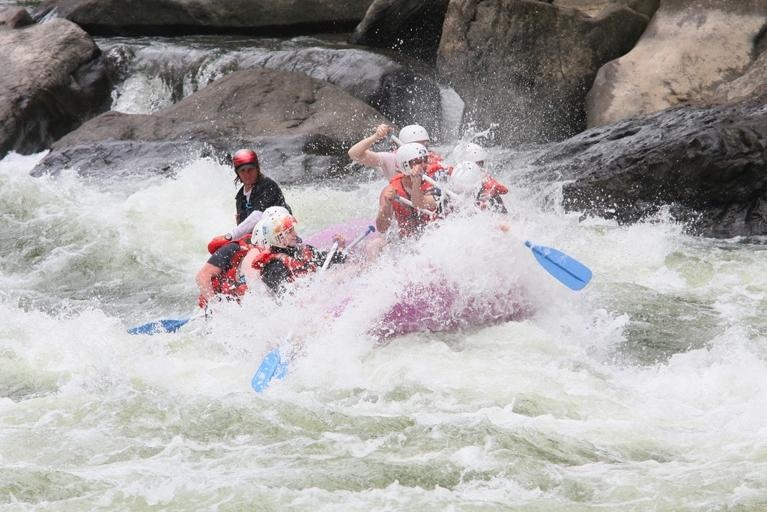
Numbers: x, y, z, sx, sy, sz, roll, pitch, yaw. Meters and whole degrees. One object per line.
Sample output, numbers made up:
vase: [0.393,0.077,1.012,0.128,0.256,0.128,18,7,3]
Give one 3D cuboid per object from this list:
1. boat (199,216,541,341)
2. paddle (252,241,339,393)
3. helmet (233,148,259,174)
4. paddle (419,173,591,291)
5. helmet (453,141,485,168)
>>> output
boat: [-0.182,0.808,17.857,3.739,0.983,1.666,-3,62,-1]
paddle: [-1.270,0.930,17.060,0.357,0.236,2.393,24,68,23]
helmet: [-2.083,-1.459,18.617,0.354,0.360,0.420,-13,-7,-4]
paddle: [1.751,-0.290,18.041,2.860,0.365,0.297,35,9,6]
helmet: [1.259,-1.553,18.608,0.508,0.360,0.339,12,45,23]
